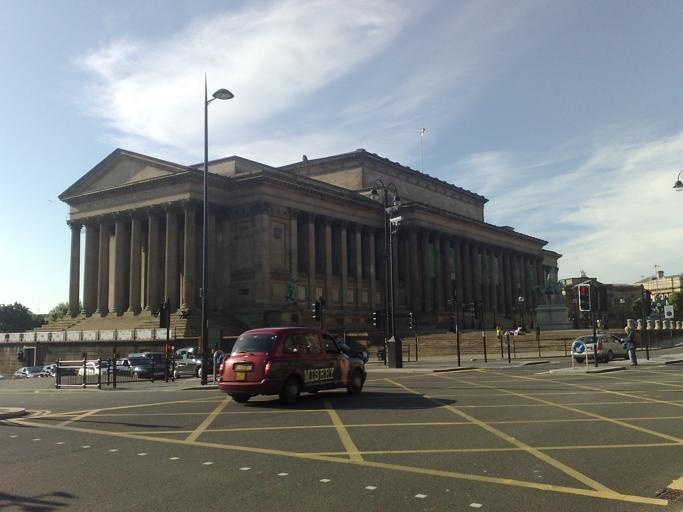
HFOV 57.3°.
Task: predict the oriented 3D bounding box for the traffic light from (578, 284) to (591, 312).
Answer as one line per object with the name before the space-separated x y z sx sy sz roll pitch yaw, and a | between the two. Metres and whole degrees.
traffic light | 12.021 2.016 30.905 0.665 1.337 1.199 -7 -11 21

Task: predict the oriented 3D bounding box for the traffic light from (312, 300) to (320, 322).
traffic light | -1.400 3.315 37.547 0.416 1.246 1.590 -2 -10 -6

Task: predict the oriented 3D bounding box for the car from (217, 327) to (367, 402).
car | -1.422 3.337 19.670 2.028 1.724 4.306 -7 -7 41
